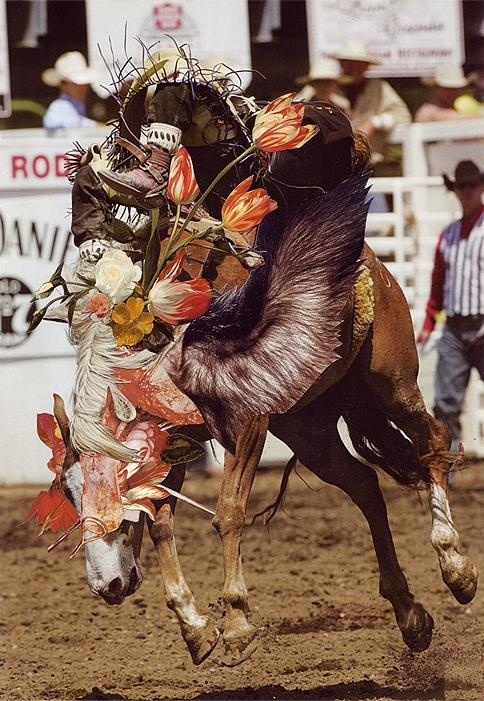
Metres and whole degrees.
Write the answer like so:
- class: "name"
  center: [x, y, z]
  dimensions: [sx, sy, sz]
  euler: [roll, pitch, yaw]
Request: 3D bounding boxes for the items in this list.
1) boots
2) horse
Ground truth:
- class: "boots"
  center: [-0.299, -0.450, 2.387]
  dimensions: [0.173, 0.109, 0.256]
  euler: [-3, 2, 26]
- class: "horse"
  center: [0.175, 0.334, 2.899]
  dimensions: [0.655, 1.342, 1.304]
  euler: [-2, 3, 45]
